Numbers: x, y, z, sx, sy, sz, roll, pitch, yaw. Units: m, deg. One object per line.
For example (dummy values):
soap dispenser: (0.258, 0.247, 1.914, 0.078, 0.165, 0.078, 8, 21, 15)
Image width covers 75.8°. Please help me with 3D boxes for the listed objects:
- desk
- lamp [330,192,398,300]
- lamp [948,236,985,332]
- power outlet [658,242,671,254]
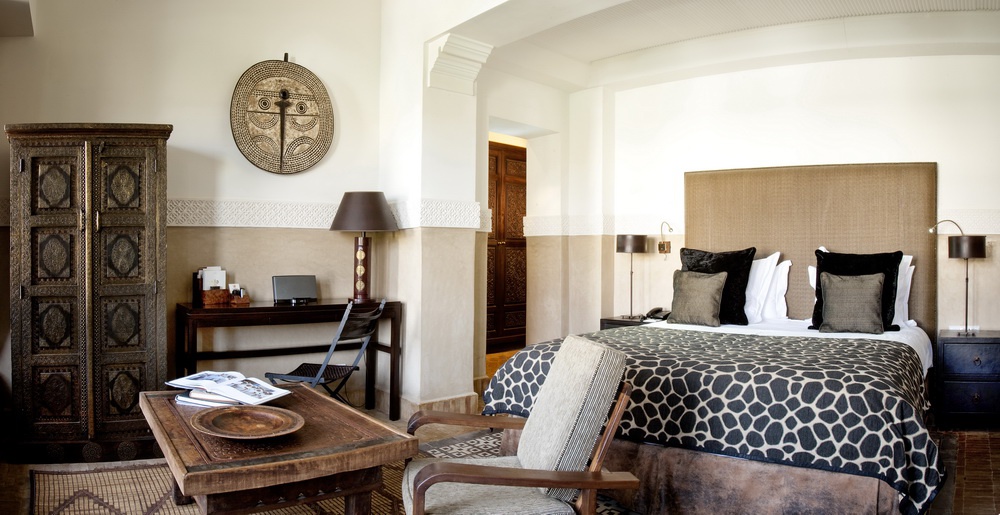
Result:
desk: (-2.465, 1.125, 7.238, 1.773, 0.896, 0.606, 0, 2, -30)
lamp: (-1.707, -0.144, 8.136, 0.859, 1.374, 0.515, -2, 2, -7)
lamp: (6.030, 0.343, 8.242, 0.386, 1.249, 0.464, 0, 2, 36)
power outlet: (2.472, -0.164, 9.635, 0.239, 0.198, 0.162, 4, 10, 18)
